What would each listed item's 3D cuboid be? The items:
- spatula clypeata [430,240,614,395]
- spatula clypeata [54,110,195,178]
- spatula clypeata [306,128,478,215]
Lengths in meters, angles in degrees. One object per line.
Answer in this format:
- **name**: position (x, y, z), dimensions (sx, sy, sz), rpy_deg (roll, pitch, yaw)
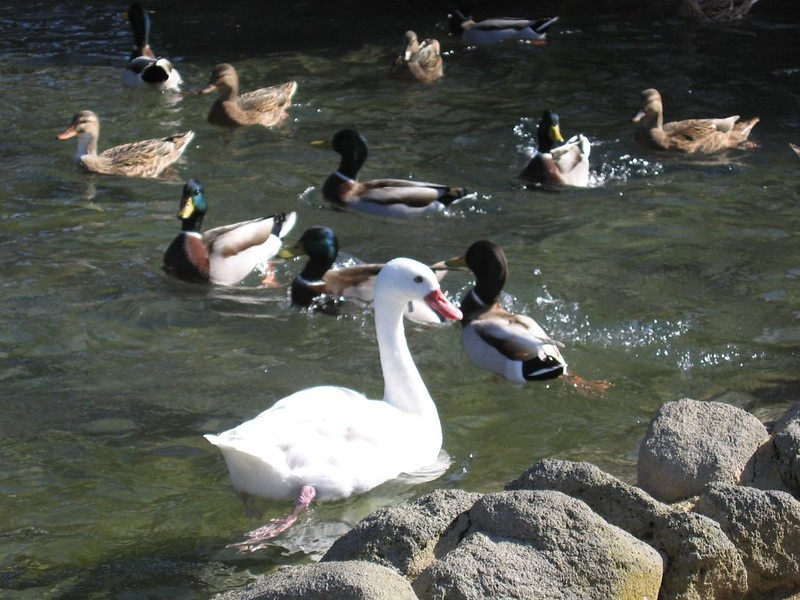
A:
- **spatula clypeata**: position (1.285, 0.203, 10.548), dimensions (1.008, 1.316, 2.952), rpy_deg (-21, 23, -16)
- **spatula clypeata**: position (-4.099, -2.326, 14.202), dimensions (1.809, 0.958, 0.663), rpy_deg (-4, 22, -13)
- **spatula clypeata**: position (-0.227, -1.730, 13.095), dimensions (1.798, 1.162, 0.600), rpy_deg (9, 24, 26)
